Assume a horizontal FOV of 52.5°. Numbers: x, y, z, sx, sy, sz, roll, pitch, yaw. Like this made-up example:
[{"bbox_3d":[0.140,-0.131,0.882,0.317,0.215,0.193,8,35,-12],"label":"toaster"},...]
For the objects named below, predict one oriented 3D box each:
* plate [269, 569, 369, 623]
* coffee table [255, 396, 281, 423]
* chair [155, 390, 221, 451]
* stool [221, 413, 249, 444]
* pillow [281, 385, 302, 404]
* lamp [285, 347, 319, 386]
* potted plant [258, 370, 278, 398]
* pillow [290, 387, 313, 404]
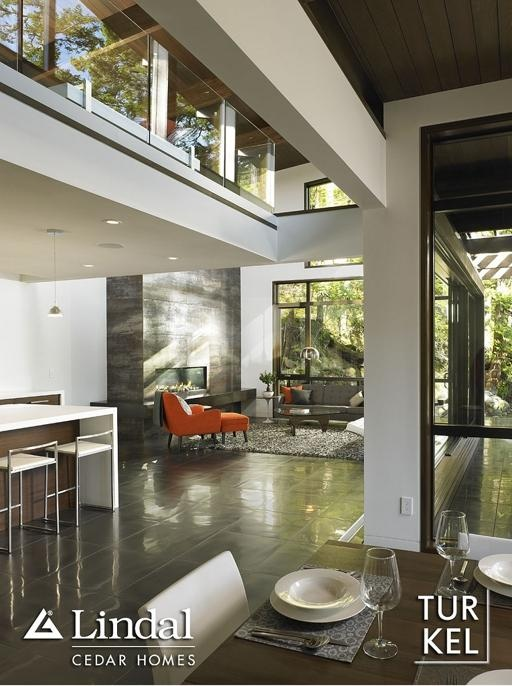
[{"bbox_3d":[0.150,0.611,1.257,0.181,0.039,0.176,-4,4,-17],"label":"plate"},{"bbox_3d":[0.200,1.349,10.707,0.536,0.546,0.510,0,-3,-3],"label":"coffee table"},{"bbox_3d":[-0.964,1.058,7.452,0.894,0.917,0.717,-1,1,-25],"label":"chair"},{"bbox_3d":[-0.351,1.274,7.809,0.438,0.361,0.449,-2,2,-30],"label":"stool"},{"bbox_3d":[0.695,1.023,10.212,0.351,0.302,0.129,-4,13,-40],"label":"pillow"},{"bbox_3d":[0.957,0.475,10.281,0.614,0.844,1.299,0,-2,3],"label":"lamp"},{"bbox_3d":[0.129,0.838,10.522,0.442,0.644,0.409,1,-1,-17],"label":"potted plant"},{"bbox_3d":[0.851,1.018,10.082,0.309,0.295,0.127,-2,-36,2],"label":"pillow"}]
